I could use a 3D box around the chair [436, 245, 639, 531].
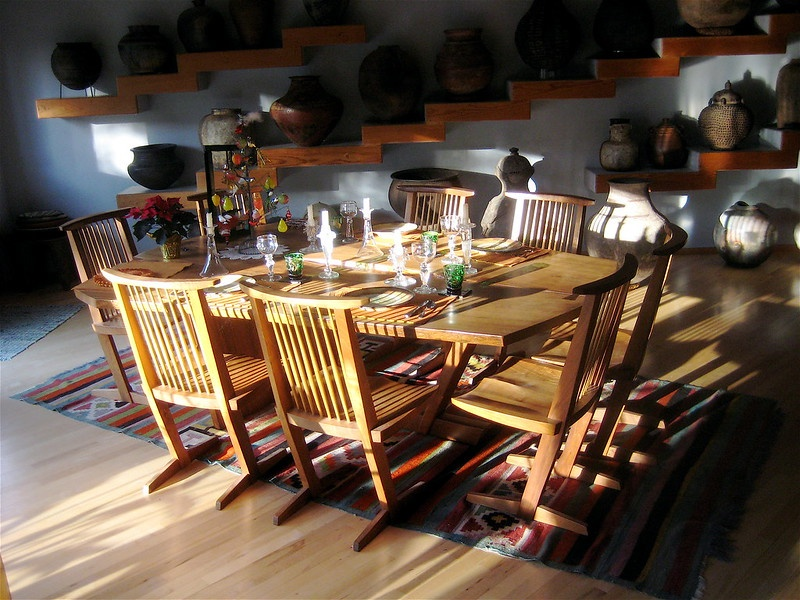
[{"bbox_3d":[0.589,0.372,2.443,0.588,1.075,0.531,8,25,25],"label":"chair"}]

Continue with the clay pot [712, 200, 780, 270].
[{"bbox_3d":[3.092,-0.589,5.181,0.567,0.446,0.493,-13,17,-31],"label":"clay pot"}]

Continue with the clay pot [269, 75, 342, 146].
[{"bbox_3d":[-0.814,-1.710,5.287,0.710,0.480,0.712,-1,32,1],"label":"clay pot"}]

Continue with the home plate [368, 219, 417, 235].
[{"bbox_3d":[-0.024,-0.420,3.438,0.197,0.021,0.157,-7,19,-19],"label":"home plate"}]

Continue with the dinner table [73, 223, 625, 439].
[{"bbox_3d":[-0.259,0.144,2.727,1.688,0.336,0.706,6,26,21],"label":"dinner table"}]

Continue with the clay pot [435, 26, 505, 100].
[{"bbox_3d":[0.552,-1.975,4.950,0.767,0.494,0.643,9,26,25],"label":"clay pot"}]

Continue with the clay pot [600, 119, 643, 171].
[{"bbox_3d":[1.879,-1.362,5.143,0.450,0.409,0.349,-9,31,-11],"label":"clay pot"}]

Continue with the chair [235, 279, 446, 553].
[{"bbox_3d":[-0.268,0.430,2.420,0.586,1.069,0.554,12,27,32],"label":"chair"}]

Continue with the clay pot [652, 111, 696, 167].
[{"bbox_3d":[2.383,-1.379,5.103,0.372,0.381,0.345,-10,27,5],"label":"clay pot"}]

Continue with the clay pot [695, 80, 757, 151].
[{"bbox_3d":[2.749,-1.581,5.004,0.497,0.450,0.410,11,33,26],"label":"clay pot"}]
